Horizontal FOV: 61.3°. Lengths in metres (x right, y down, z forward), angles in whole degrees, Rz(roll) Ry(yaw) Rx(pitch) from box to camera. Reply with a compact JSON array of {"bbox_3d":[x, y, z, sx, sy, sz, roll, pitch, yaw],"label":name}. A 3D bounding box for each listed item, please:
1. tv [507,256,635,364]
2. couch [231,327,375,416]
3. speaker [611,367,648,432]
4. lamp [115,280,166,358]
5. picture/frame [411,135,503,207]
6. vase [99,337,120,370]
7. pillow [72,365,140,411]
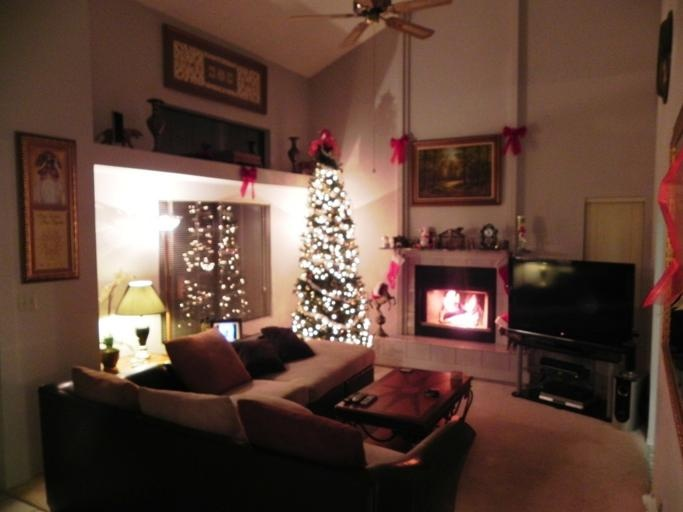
[{"bbox_3d":[2.445,0.557,6.051,1.122,0.855,0.329,3,4,43],"label":"tv"},{"bbox_3d":[-0.373,0.941,5.707,0.672,0.487,1.028,2,1,28],"label":"couch"},{"bbox_3d":[2.816,1.416,5.631,0.298,0.548,0.176,-1,2,16],"label":"speaker"},{"bbox_3d":[-2.062,0.621,5.842,0.463,0.737,0.600,-2,2,-32],"label":"lamp"},{"bbox_3d":[1.500,-1.077,7.225,0.900,0.690,0.044,2,5,29],"label":"picture/frame"},{"bbox_3d":[-2.170,0.908,5.393,0.162,0.318,0.180,-2,2,-23],"label":"vase"},{"bbox_3d":[-1.705,0.958,4.164,0.322,0.100,0.331,7,-20,44],"label":"pillow"}]
